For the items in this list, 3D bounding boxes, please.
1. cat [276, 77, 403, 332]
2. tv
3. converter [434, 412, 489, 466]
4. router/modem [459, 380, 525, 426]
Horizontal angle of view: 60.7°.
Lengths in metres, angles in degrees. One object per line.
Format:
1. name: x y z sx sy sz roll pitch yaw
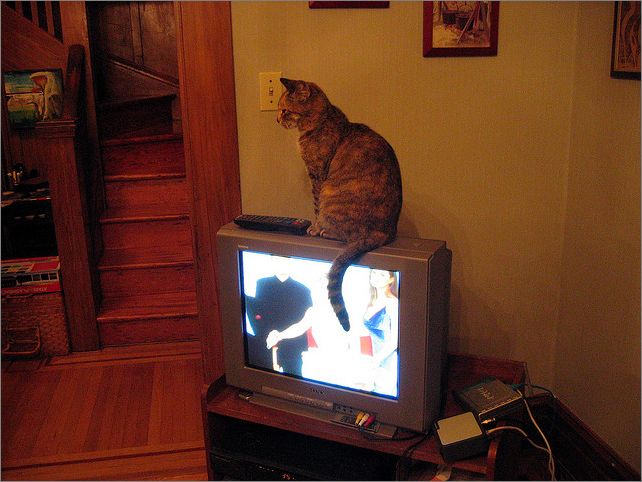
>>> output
1. cat: 0.027 -0.168 2.065 0.444 0.980 0.497 1 22 -1
2. tv: 0.023 0.250 2.314 1.129 1.069 0.651 7 19 20
3. converter: 0.478 0.658 1.906 0.143 0.078 0.154 -19 40 2
4. router/modem: 0.615 0.583 2.004 0.184 0.085 0.159 -4 12 -17
